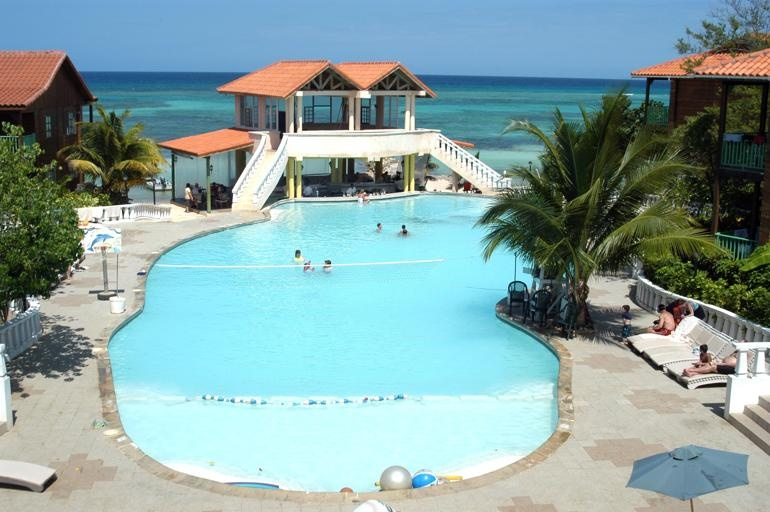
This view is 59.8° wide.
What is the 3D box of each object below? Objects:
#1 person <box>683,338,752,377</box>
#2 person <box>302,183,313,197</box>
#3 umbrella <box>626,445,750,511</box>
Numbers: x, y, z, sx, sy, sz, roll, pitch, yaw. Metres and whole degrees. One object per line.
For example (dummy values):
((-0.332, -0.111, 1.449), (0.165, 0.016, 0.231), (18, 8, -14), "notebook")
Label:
((8.179, 2.618, 16.970), (1.199, 0.788, 0.880), (4, 10, 25), "person")
((-4.924, -4.163, 42.779), (0.617, 0.618, 1.132), (-2, 9, -9), "person")
((4.885, 3.473, 10.792), (1.856, 0.546, 0.787), (-1, 9, 1), "umbrella")
